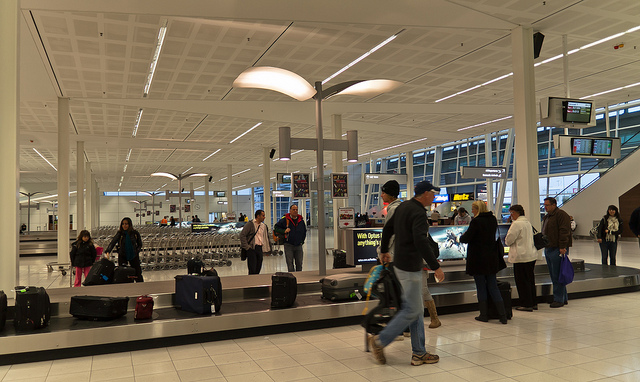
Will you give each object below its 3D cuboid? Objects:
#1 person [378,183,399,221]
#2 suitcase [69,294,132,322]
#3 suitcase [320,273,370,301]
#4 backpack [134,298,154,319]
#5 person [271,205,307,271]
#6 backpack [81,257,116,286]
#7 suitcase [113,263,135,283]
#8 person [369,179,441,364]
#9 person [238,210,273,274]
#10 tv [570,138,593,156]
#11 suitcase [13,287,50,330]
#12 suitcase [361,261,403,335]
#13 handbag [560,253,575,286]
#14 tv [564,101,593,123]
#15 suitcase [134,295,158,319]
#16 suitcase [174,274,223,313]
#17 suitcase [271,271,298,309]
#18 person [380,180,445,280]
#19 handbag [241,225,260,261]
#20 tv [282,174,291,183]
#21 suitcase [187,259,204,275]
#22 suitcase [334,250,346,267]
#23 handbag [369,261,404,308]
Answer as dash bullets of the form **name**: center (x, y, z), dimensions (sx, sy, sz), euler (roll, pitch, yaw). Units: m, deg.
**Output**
- **person**: center (1.312, 0.147, 7.796), dimensions (0.460, 0.655, 0.830), euler (2, 12, 17)
- **suitcase**: center (-4.250, 2.200, 8.352), dimensions (0.735, 0.268, 0.569), euler (1, -3, 21)
- **suitcase**: center (0.550, 1.968, 9.237), dimensions (0.912, 0.355, 0.636), euler (2, -3, -29)
- **backpack**: center (-3.350, 2.227, 8.311), dimensions (0.364, 0.424, 0.258), euler (8, -11, -32)
- **person**: center (-0.829, 1.432, 12.050), dimensions (0.895, 2.150, 1.347), euler (-2, 15, -6)
- **backpack**: center (-4.884, 1.793, 9.646), dimensions (0.676, 0.535, 0.470), euler (-7, 16, -25)
- **suitcase**: center (-4.523, 1.855, 9.959), dimensions (0.471, 0.578, 0.375), euler (7, -9, -38)
- **person**: center (1.434, 1.381, 7.476), dimensions (1.029, 2.976, 1.028), euler (1, 16, 6)
- **person**: center (-1.698, 1.409, 11.333), dimensions (0.703, 1.765, 1.062), euler (5, 16, 22)
- **tv**: center (7.309, -1.229, 12.173), dimensions (0.872, 0.506, 0.139), euler (-7, 17, -25)
- **suitcase**: center (-5.208, 2.118, 7.856), dimensions (0.748, 0.772, 0.671), euler (2, -1, -26)
- **suitcase**: center (1.090, 1.878, 7.561), dimensions (0.506, 1.090, 1.105), euler (9, -2, -2)
- **handbag**: center (5.403, 1.703, 9.533), dimensions (0.271, 0.737, 0.200), euler (8, 18, 28)
- **tv**: center (6.931, -2.103, 11.671), dimensions (0.944, 0.569, 0.238), euler (-6, 16, -23)
- **suitcase**: center (-3.395, 2.223, 8.417), dimensions (0.389, 0.443, 0.322), euler (2, -3, -19)
- **suitcase**: center (-2.368, 2.018, 8.689), dimensions (0.751, 0.618, 0.993), euler (3, -3, -43)
- **suitcase**: center (-0.625, 2.021, 9.020), dimensions (0.646, 0.720, 0.621), euler (0, -3, 12)
- **person**: center (1.568, 0.756, 7.430), dimensions (1.019, 1.743, 0.954), euler (1, 15, 7)
- **handbag**: center (-1.814, 1.391, 11.289), dimensions (0.493, 0.820, 0.255), euler (-2, 16, -6)
- **tv**: center (-2.064, -0.760, 26.904), dimensions (0.097, 0.490, 0.965), euler (-7, -7, 34)
- **suitcase**: center (-2.676, 1.666, 9.602), dimensions (0.301, 0.338, 0.387), euler (3, -7, -34)
- **suitcase**: center (0.551, 1.851, 11.952), dimensions (0.312, 0.462, 0.366), euler (-1, 15, -1)
- **handbag**: center (1.315, 1.599, 7.960), dimensions (0.708, 1.172, 0.907), euler (0, -8, 11)
